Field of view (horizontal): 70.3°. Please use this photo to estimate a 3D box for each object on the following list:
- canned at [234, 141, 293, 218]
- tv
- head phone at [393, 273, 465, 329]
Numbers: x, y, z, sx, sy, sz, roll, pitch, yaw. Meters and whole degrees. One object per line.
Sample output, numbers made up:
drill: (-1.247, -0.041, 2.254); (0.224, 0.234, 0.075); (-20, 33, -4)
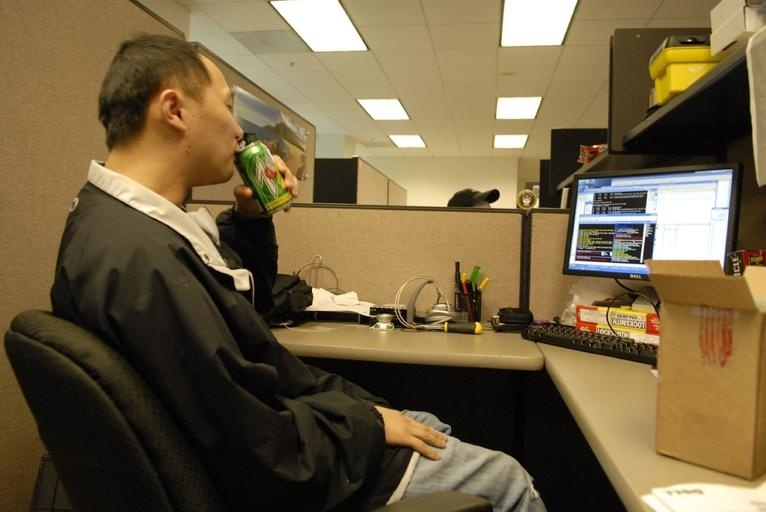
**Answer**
canned: (-0.323, -0.202, 1.477); (0.126, 0.192, 0.106); (2, -1, 12)
tv: (0.821, -0.102, 1.727); (0.067, 0.350, 0.522); (0, 2, -40)
head phone: (0.163, 0.164, 1.958); (0.236, 0.170, 0.121); (0, -10, -4)
